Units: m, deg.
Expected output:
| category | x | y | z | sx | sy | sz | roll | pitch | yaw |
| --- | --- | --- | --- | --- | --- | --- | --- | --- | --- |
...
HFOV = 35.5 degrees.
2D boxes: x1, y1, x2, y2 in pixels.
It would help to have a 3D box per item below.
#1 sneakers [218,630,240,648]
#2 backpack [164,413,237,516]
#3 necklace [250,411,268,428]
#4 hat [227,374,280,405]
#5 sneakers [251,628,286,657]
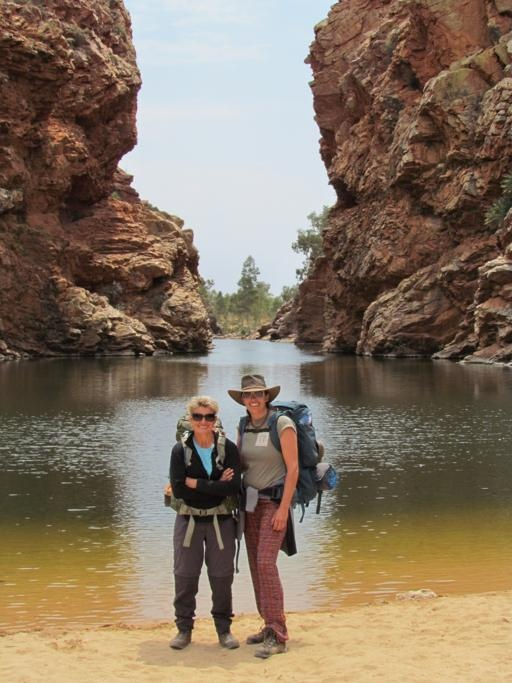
| category | x | y | z | sx | sy | sz | roll | pitch | yaw |
| --- | --- | --- | --- | --- | --- | --- | --- | --- | --- |
| sneakers | -0.188 | 2.050 | 5.476 | 0.140 | 0.084 | 0.136 | -2 | -5 | -3 |
| backpack | -0.366 | 0.829 | 5.660 | 0.518 | 0.850 | 0.397 | -2 | -5 | -6 |
| necklace | 0.012 | 0.566 | 5.804 | 0.100 | 0.114 | 0.072 | -6 | -8 | 20 |
| hat | -0.010 | 0.316 | 5.906 | 0.298 | 0.106 | 0.284 | -4 | -19 | 2 |
| sneakers | 0.093 | 2.005 | 5.295 | 0.200 | 0.138 | 0.204 | -2 | -5 | 3 |
